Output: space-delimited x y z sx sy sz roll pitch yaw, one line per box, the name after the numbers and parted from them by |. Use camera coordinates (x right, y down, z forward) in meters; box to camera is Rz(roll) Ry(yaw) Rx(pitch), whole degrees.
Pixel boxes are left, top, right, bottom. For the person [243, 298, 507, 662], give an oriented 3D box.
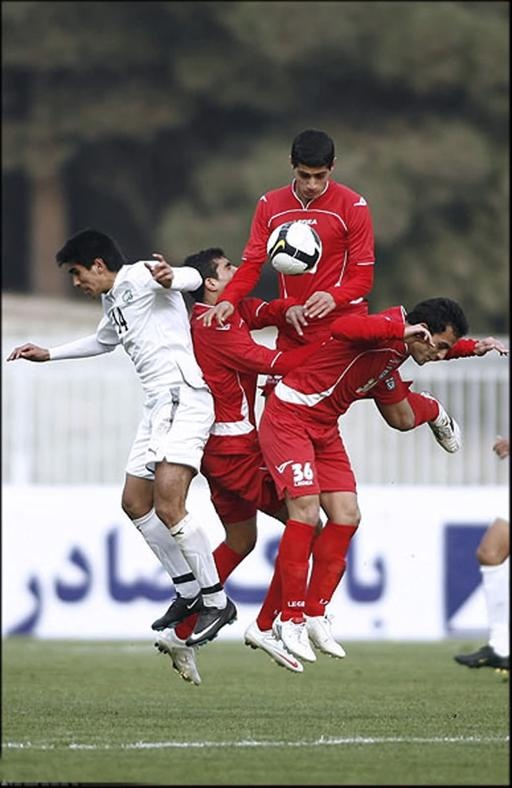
0.560 0.404 5.759 1.202 1.685 0.879 -3 3 -4 | person

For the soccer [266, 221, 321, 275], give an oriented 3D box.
0.192 -0.691 5.593 0.255 0.240 0.248 -2 39 9 | soccer

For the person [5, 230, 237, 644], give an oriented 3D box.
-0.543 0.190 5.854 0.955 1.981 0.536 0 4 43 | person
